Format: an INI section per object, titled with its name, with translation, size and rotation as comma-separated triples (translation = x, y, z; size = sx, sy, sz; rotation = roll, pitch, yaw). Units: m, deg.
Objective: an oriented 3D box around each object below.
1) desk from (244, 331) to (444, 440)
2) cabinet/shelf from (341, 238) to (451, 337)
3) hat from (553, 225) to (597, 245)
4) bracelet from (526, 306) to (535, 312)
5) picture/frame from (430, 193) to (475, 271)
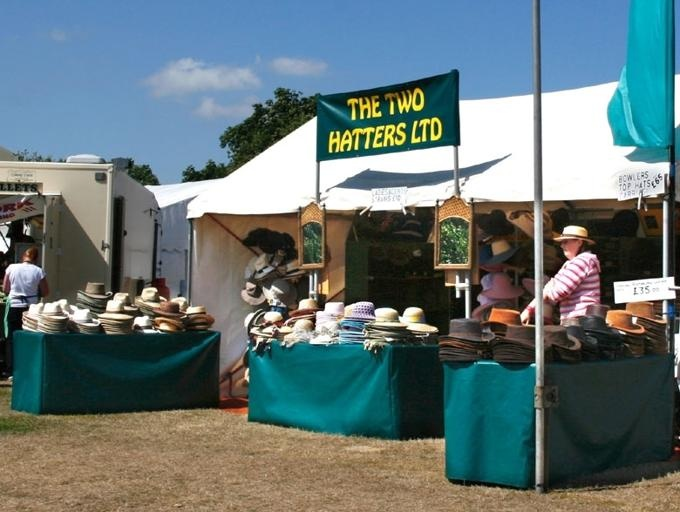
[desk]
translation = 0.030, 1.259, 12.406
size = 1.951, 0.963, 0.461
rotation = 5, 13, 25
[cabinet/shelf]
translation = 0.584, 0.336, 14.674
size = 1.100, 0.678, 1.083
rotation = 7, -9, -33
[hat]
translation = 2.322, -0.216, 12.469
size = 0.298, 0.102, 0.248
rotation = 3, -4, -20
[bracelet]
translation = 1.810, 0.497, 12.347
size = 0.063, 0.045, 0.063
rotation = 2, 2, 17
[picture/frame]
translation = 1.132, -0.233, 12.889
size = 0.510, 0.725, 0.328
rotation = 6, 13, 27
